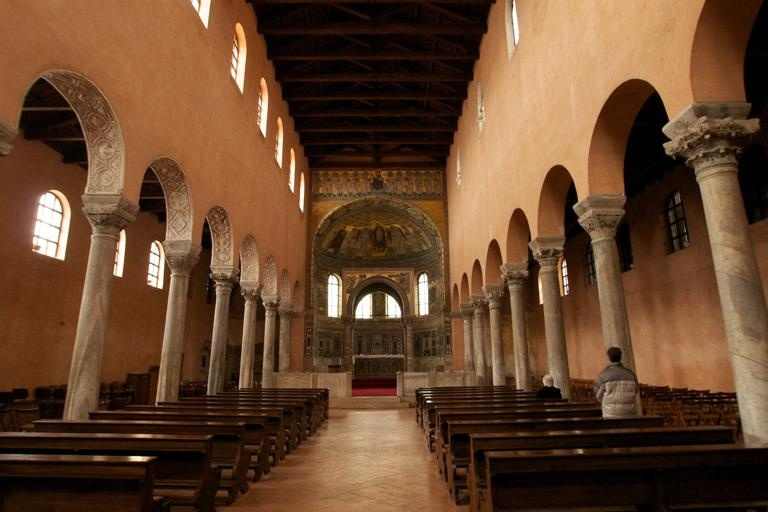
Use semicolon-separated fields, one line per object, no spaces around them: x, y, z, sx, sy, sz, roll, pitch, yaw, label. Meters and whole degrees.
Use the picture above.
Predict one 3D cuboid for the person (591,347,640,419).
4.571;2.733;10.857;0.768;1.988;0.616;-8;14;-4;person
